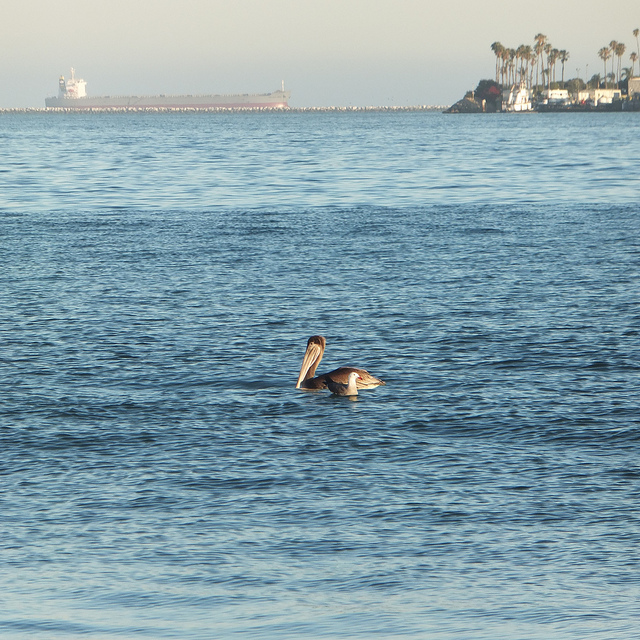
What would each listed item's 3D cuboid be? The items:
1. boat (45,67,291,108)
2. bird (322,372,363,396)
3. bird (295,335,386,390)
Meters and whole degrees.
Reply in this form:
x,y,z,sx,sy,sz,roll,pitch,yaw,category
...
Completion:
x,y,z,sx,sy,sz,roll,pitch,yaw,category
-36.224,-53.440,356.897,60.261,10.736,8.331,2,-6,17,boat
0.285,0.826,20.688,0.530,0.327,0.200,7,16,27,bird
0.261,0.614,20.944,1.381,0.893,0.481,-13,-8,28,bird
